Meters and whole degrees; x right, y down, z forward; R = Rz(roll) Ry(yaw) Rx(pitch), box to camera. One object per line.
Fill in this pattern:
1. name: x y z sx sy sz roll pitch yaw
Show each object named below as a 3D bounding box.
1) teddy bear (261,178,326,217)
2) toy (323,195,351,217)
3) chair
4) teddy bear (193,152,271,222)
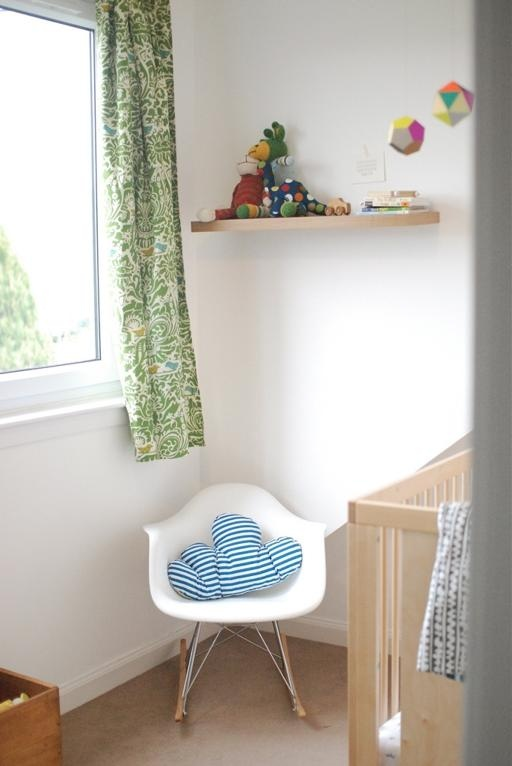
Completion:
1. teddy bear: 0.136 -0.679 2.408 0.244 0.143 0.110 2 5 29
2. toy: 0.287 -0.618 2.312 0.088 0.064 0.070 0 4 4
3. chair: -0.059 0.684 2.231 0.577 0.661 0.677 0 -6 -2
4. teddy bear: -0.046 -0.734 2.468 0.181 0.272 0.251 1 4 35
